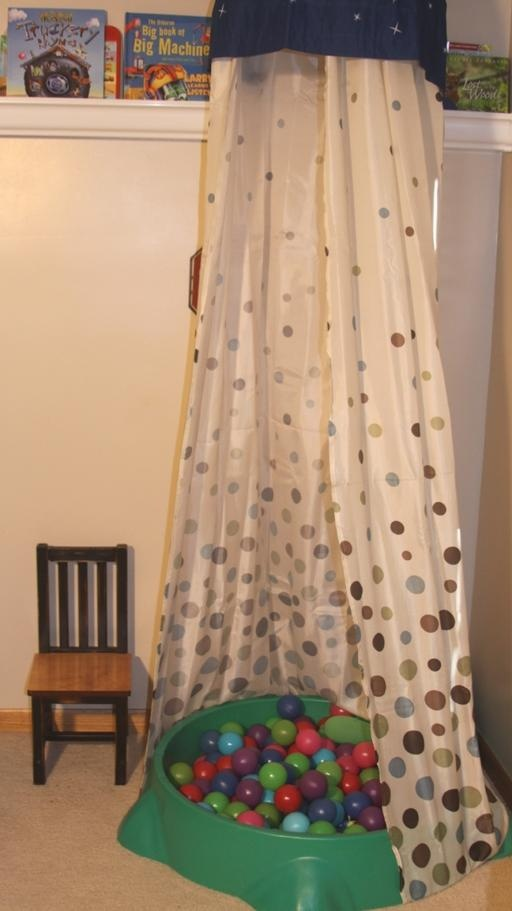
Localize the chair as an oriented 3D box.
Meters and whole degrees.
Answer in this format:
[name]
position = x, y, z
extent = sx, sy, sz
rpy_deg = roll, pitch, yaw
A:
[chair]
position = -0.526, 0.610, 2.221
extent = 0.313, 0.664, 0.446
rpy_deg = -3, 12, -11
